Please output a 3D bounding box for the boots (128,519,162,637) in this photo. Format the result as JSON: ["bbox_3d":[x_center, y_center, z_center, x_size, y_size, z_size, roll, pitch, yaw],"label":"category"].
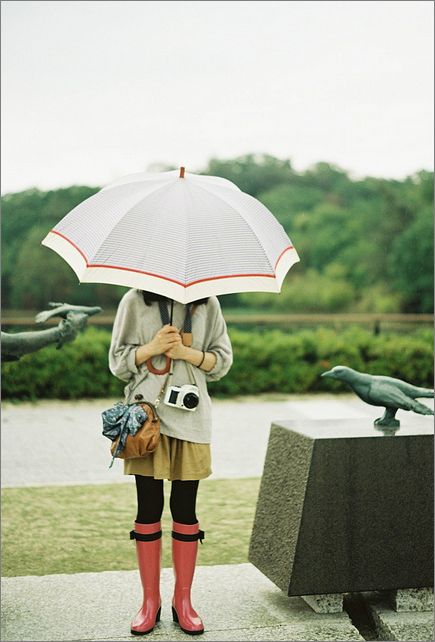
[{"bbox_3d":[-0.322,1.116,4.245,0.136,0.472,0.222,2,5,7],"label":"boots"}]

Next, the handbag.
[{"bbox_3d":[-0.352,0.468,4.105,0.246,0.224,0.091,-6,-13,36],"label":"handbag"}]

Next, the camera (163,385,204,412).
[{"bbox_3d":[-0.145,0.330,4.212,0.168,0.122,0.112,9,-9,-27],"label":"camera"}]

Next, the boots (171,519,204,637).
[{"bbox_3d":[-0.128,1.127,4.216,0.135,0.468,0.134,0,5,-8],"label":"boots"}]

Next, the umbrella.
[{"bbox_3d":[-0.254,-0.201,4.331,0.978,0.759,0.881,3,42,-7],"label":"umbrella"}]
